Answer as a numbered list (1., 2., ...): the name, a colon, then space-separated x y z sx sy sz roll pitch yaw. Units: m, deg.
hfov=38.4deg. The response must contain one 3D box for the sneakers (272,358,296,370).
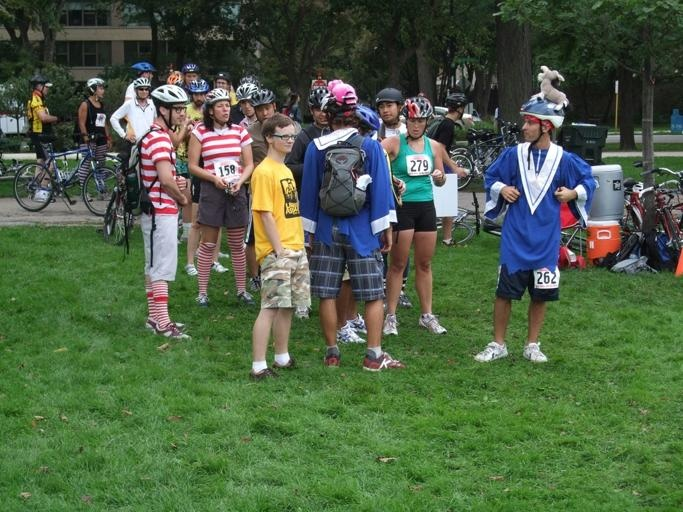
1. sneakers: -0.559 1.045 9.707 0.258 0.113 0.090 -10 13 -40

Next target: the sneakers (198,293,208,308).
1. sneakers: -1.641 0.520 11.468 0.129 0.166 0.370 1 -5 -12

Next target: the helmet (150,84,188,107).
1. helmet: -1.824 -1.682 10.231 0.285 0.118 0.215 4 18 12

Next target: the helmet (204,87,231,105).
1. helmet: -1.404 -1.785 10.913 0.174 0.095 0.242 -7 8 -38

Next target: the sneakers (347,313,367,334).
1. sneakers: 0.209 0.749 10.869 0.121 0.141 0.292 -7 14 -40

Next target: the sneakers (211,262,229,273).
1. sneakers: -1.636 0.130 13.083 0.204 0.132 0.251 0 6 -21

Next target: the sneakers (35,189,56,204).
1. sneakers: -5.205 -1.036 16.825 0.213 0.243 0.404 -3 7 -42

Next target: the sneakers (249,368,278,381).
1. sneakers: -0.761 1.128 9.493 0.278 0.115 0.105 -6 18 -8

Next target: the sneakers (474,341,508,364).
1. sneakers: 1.562 0.990 10.136 0.410 0.191 0.149 -6 8 -23

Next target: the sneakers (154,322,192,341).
1. sneakers: -1.842 0.787 10.525 0.433 0.185 0.162 5 11 15

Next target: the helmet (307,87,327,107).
1. helmet: -0.261 -1.640 10.225 0.182 0.101 0.283 6 34 4

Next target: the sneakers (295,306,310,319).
1. sneakers: -0.453 0.633 11.061 0.222 0.095 0.312 -1 7 -4

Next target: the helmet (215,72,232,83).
1. helmet: -1.726 -2.601 14.122 0.177 0.086 0.226 0 -1 -8

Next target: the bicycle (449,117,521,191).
1. bicycle: 3.180 -2.308 21.638 2.363 1.563 1.258 -4 2 16

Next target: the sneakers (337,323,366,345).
1. sneakers: 0.104 0.837 10.532 0.331 0.158 0.147 7 9 42

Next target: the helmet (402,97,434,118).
1. helmet: 0.808 -1.586 10.392 0.202 0.216 0.268 2 -16 2

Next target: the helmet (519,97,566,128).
1. helmet: 2.057 -1.465 9.783 0.379 0.220 0.291 -6 25 -24

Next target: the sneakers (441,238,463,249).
1. sneakers: 1.731 -0.199 15.010 0.280 0.123 0.109 -1 6 -34

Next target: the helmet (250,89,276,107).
1. helmet: -0.907 -1.803 11.102 0.216 0.213 0.413 2 5 5

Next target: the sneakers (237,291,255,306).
1. sneakers: -1.152 0.493 11.644 0.103 0.119 0.266 -13 16 -31

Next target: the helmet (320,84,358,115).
1. helmet: -0.022 -1.542 9.531 0.335 0.292 0.257 17 25 37

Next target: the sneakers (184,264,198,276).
1. sneakers: -1.981 0.179 12.859 0.123 0.140 0.303 -5 6 -31

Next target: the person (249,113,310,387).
1. person: -0.592 0.107 9.446 0.588 2.135 0.424 0 5 -19

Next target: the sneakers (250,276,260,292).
1. sneakers: -1.076 0.332 11.951 0.067 0.213 0.087 -8 -14 36

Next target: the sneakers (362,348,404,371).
1. sneakers: 0.397 1.044 9.802 0.442 0.199 0.167 1 0 -22

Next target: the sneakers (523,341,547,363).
1. sneakers: 2.006 0.991 10.105 0.116 0.152 0.321 -2 -1 -18

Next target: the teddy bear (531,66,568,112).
1. teddy bear: 2.165 -1.707 9.859 0.364 0.386 0.278 17 38 25

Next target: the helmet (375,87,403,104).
1. helmet: 0.534 -1.674 10.184 0.168 0.127 0.221 7 13 34

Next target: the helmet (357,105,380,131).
1. helmet: 0.271 -1.411 9.894 0.104 0.198 0.277 -27 -36 27
